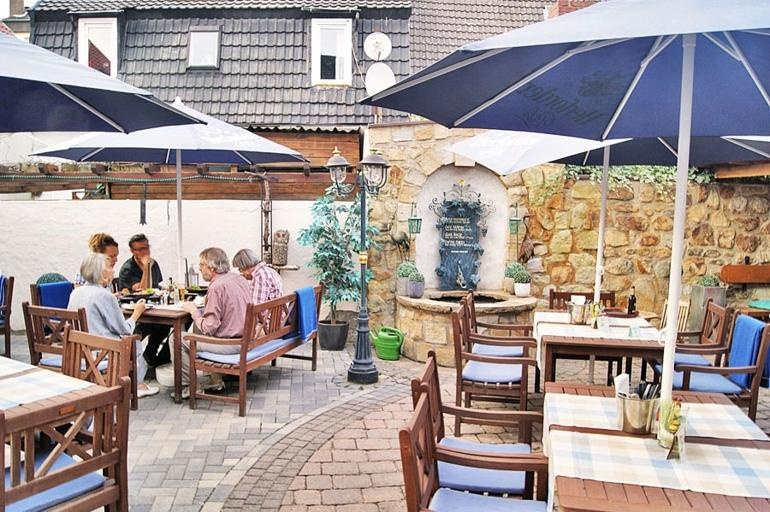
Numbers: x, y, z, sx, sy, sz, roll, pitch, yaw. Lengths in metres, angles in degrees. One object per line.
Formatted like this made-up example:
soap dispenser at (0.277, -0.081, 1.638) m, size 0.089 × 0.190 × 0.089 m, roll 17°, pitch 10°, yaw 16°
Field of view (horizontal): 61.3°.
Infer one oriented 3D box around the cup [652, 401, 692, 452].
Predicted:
cup at (2.086, 1.183, 4.711) m, size 0.210 × 0.349 × 0.412 m, roll 7°, pitch 14°, yaw 24°

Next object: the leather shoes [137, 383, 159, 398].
leather shoes at (-2.850, 1.614, 7.796) m, size 0.131 × 0.098 × 0.272 m, roll 5°, pitch 5°, yaw 31°

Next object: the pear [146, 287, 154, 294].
pear at (-3.020, 0.440, 8.320) m, size 0.083 × 0.053 × 0.095 m, roll 0°, pitch 1°, yaw 0°

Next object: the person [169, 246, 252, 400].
person at (-1.954, 0.809, 7.529) m, size 0.962 × 1.758 × 0.676 m, roll 3°, pitch 13°, yaw 10°

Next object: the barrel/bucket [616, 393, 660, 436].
barrel/bucket at (1.860, 1.169, 4.793) m, size 0.268 × 0.212 × 0.287 m, roll 1°, pitch -3°, yaw 0°

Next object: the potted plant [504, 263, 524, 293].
potted plant at (2.086, 0.346, 10.221) m, size 0.417 × 0.469 × 0.421 m, roll -2°, pitch -2°, yaw 37°

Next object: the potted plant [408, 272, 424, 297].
potted plant at (0.460, 0.435, 9.702) m, size 0.331 × 0.467 × 0.328 m, roll 0°, pitch -3°, yaw 5°

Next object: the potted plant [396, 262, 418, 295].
potted plant at (0.288, 0.343, 9.878) m, size 0.453 × 0.550 × 0.411 m, roll 2°, pitch -3°, yaw -17°

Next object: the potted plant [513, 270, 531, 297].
potted plant at (2.088, 0.431, 9.951) m, size 0.362 × 0.471 × 0.353 m, roll 0°, pitch -2°, yaw -5°

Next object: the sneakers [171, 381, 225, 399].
sneakers at (-2.245, 1.585, 7.832) m, size 0.676 × 0.283 × 0.229 m, roll 2°, pitch -4°, yaw -2°

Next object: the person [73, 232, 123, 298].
person at (-3.577, 0.103, 8.141) m, size 0.540 × 0.975 × 0.743 m, roll -3°, pitch 11°, yaw -16°

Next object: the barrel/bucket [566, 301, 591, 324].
barrel/bucket at (2.135, 0.641, 7.127) m, size 0.216 × 0.163 × 0.216 m, roll 1°, pitch -5°, yaw 0°
